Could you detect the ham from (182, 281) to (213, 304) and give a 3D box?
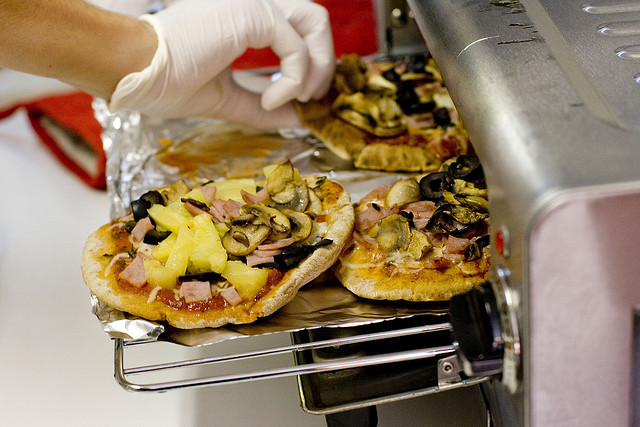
[{"bbox_3d":[-0.252,0.161,1.217,0.052,0.025,0.045,-17,53,-2],"label":"ham"}]

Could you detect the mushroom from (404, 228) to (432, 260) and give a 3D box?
[{"bbox_3d":[0.210,0.062,1.276,0.068,0.036,0.060,-33,55,-13],"label":"mushroom"}]

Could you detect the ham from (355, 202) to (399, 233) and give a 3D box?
[{"bbox_3d":[0.127,0.004,1.382,0.092,0.020,0.059,-40,48,-17],"label":"ham"}]

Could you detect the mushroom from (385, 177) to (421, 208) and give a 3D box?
[{"bbox_3d":[0.210,-0.055,1.412,0.085,0.120,0.028,-12,63,12],"label":"mushroom"}]

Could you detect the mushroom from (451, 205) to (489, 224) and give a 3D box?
[{"bbox_3d":[0.325,0.007,1.265,0.054,0.013,0.038,17,47,8],"label":"mushroom"}]

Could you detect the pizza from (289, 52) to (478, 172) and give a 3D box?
[{"bbox_3d":[0.190,-0.302,1.746,0.379,0.064,0.449,-14,45,-9],"label":"pizza"}]

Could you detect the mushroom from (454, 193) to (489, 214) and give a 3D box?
[{"bbox_3d":[0.331,-0.023,1.286,0.081,0.033,0.030,14,41,32],"label":"mushroom"}]

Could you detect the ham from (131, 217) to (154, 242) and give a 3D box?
[{"bbox_3d":[-0.408,0.038,1.361,0.052,0.014,0.052,-49,52,17],"label":"ham"}]

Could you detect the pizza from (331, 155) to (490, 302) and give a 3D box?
[{"bbox_3d":[0.225,0.023,1.388,0.412,0.117,0.458,-9,34,-10],"label":"pizza"}]

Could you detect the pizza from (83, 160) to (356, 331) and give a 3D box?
[{"bbox_3d":[-0.238,0.016,1.410,0.643,0.161,0.598,-16,34,-25],"label":"pizza"}]

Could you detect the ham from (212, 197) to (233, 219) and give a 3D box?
[{"bbox_3d":[-0.224,-0.016,1.366,0.036,0.018,0.053,-32,60,-19],"label":"ham"}]

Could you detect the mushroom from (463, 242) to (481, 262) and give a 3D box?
[{"bbox_3d":[0.318,0.083,1.248,0.035,0.022,0.027,-23,54,-6],"label":"mushroom"}]

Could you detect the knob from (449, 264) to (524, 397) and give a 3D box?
[{"bbox_3d":[0.269,0.197,0.969,0.099,0.155,0.172,-8,53,6],"label":"knob"}]
